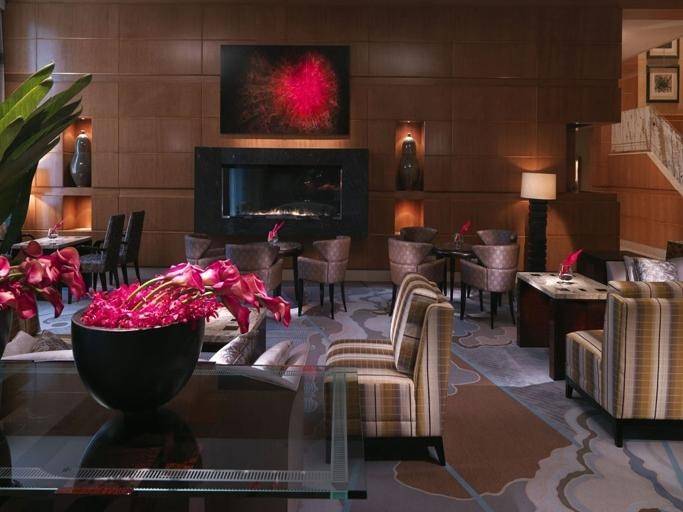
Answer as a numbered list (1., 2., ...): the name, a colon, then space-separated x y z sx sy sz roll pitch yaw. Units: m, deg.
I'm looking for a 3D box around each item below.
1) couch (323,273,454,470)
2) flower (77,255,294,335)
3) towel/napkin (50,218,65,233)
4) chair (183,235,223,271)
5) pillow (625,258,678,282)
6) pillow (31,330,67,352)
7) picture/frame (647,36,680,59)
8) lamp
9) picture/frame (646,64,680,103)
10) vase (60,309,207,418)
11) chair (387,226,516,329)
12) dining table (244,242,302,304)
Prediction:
1. couch: 0.245 0.646 3.533 0.789 1.092 1.462 1 -1 4
2. flower: -0.469 0.114 1.660 0.707 0.234 0.247 3 9 15
3. towel/napkin: -4.177 -0.449 7.901 0.128 0.176 0.437 1 22 -14
4. chair: -1.443 -0.050 5.588 0.317 0.381 0.340 -5 14 -22
5. pillow: 2.690 0.128 4.675 0.433 0.199 0.216 5 10 27
6. pillow: -1.509 0.447 2.807 0.118 0.050 0.161 1 6 -12
7. picture/frame: 6.457 -4.140 10.781 0.653 0.367 0.119 0 9 -5
8. lamp: 2.629 -0.408 7.278 0.427 1.401 1.324 3 9 20
9. picture/frame: 6.477 -3.484 10.842 0.719 0.890 0.072 0 4 2
10. vase: -0.690 0.343 1.835 0.437 0.347 0.440 2 4 -37
11. chair: 1.428 0.138 6.254 1.289 1.038 1.144 2 2 34
12. dining table: -0.658 0.168 6.544 0.591 0.827 0.630 1 6 19
